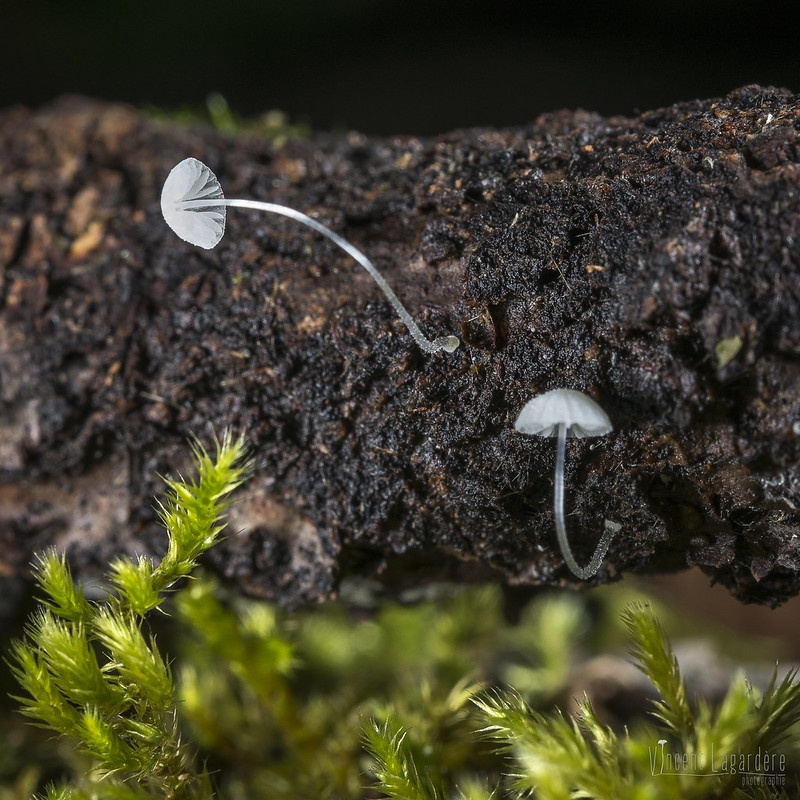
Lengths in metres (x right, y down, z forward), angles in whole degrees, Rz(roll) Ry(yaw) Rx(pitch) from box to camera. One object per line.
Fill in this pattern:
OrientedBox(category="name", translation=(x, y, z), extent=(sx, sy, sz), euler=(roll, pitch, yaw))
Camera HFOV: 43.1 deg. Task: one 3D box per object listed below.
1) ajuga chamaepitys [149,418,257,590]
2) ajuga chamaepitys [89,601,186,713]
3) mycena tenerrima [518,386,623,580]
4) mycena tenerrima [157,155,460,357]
OrientedBox(category="ajuga chamaepitys", translation=(-0.835, 0.449, 4.335), extent=(0.320, 0.247, 0.818), euler=(2, 109, 28))
OrientedBox(category="ajuga chamaepitys", translation=(-1.115, 1.072, 4.346), extent=(0.233, 0.256, 0.565), euler=(-45, 101, -16))
OrientedBox(category="mycena tenerrima", translation=(0.655, 0.330, 4.282), extent=(0.458, 0.434, 0.734), euler=(4, 96, 23))
OrientedBox(category="mycena tenerrima", translation=(-0.362, -0.632, 4.333), extent=(1.492, 0.331, 0.382), euler=(24, 69, 20))
